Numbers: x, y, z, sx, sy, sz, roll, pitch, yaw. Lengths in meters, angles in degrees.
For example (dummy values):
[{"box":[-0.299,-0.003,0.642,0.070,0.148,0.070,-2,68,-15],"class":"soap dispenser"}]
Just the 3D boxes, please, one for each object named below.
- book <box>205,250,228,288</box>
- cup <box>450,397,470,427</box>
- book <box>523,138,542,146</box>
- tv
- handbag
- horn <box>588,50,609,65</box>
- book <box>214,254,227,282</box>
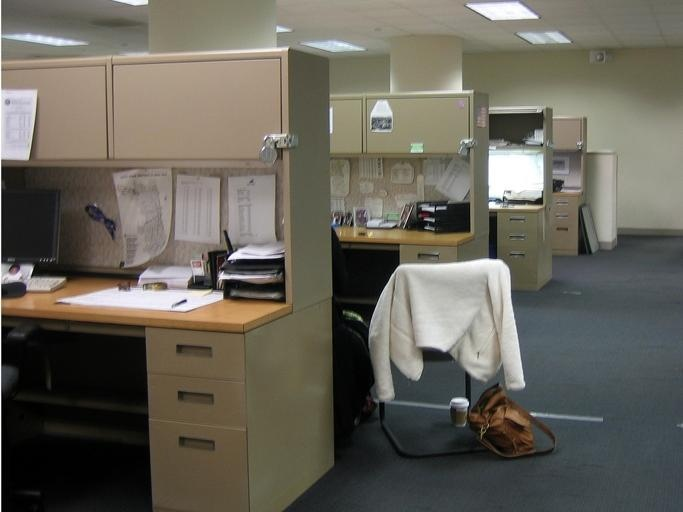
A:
[{"box":[-0.570,0.064,2.563,0.136,0.158,0.156,0,6,5],"class":"book"},{"box":[0.635,0.840,2.965,0.113,0.147,0.123,0,-1,0],"class":"cup"},{"box":[2.278,-1.337,6.576,0.125,0.054,0.174,0,3,-4],"class":"book"},{"box":[-1.469,-0.133,2.605,0.307,0.352,0.023,-3,-2,8],"class":"tv"},{"box":[0.851,0.863,2.789,0.426,0.219,0.321,26,34,35],"class":"handbag"},{"box":[4.613,-3.550,9.878,0.316,0.231,0.269,2,9,17],"class":"horn"},{"box":[-0.546,0.044,2.485,0.022,0.110,0.094,3,1,-5],"class":"book"}]
